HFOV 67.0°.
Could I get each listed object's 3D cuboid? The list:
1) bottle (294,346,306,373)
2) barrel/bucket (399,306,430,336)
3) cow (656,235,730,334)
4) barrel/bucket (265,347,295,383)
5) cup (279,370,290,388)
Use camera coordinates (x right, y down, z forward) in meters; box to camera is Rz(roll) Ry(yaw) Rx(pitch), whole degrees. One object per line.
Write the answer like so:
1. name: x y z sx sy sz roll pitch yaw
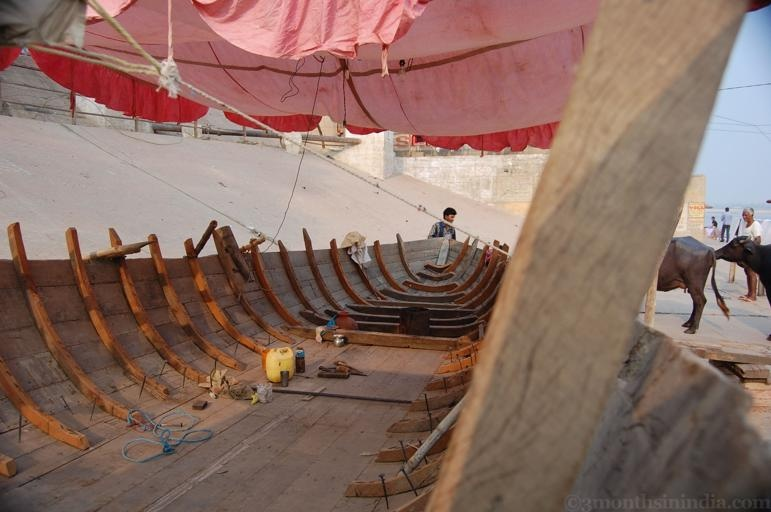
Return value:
1. bottle: -0.894 1.079 6.156 0.124 0.234 0.259 5 9 -8
2. barrel/bucket: 0.362 0.800 7.173 0.346 0.312 0.334 1 -6 0
3. cow: 4.173 0.379 8.202 0.653 1.287 0.587 11 11 25
4. barrel/bucket: -1.019 1.088 5.832 0.317 0.289 0.320 0 -8 0
5. cup: -0.966 1.198 5.704 0.136 0.198 0.132 0 -11 0
